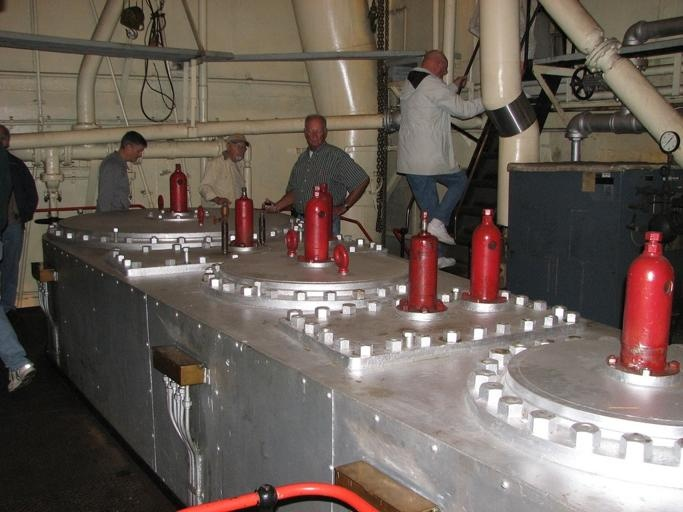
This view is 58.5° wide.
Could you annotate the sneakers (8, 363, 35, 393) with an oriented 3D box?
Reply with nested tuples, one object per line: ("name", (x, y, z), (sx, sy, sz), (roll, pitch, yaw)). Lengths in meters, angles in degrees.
("sneakers", (-2.409, 0.919, 4.595), (0.331, 0.159, 0.115), (-38, -28, 29))

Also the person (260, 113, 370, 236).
("person", (-0.194, -0.740, 5.768), (0.847, 1.150, 1.071), (3, 11, 11))

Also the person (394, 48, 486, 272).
("person", (0.904, -1.046, 5.880), (0.711, 1.800, 0.538), (2, 11, 5))

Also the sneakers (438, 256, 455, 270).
("sneakers", (1.027, 0.066, 5.992), (0.073, 0.097, 0.223), (13, 21, 39))

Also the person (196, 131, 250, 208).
("person", (-1.359, -0.995, 7.153), (0.268, 0.811, 0.581), (8, 13, 35))

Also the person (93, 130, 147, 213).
("person", (-2.288, -0.872, 6.301), (0.322, 0.791, 0.525), (6, 12, 26))

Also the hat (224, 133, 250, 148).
("hat", (-1.262, -1.360, 7.186), (0.261, 0.098, 0.186), (11, 11, 38))
